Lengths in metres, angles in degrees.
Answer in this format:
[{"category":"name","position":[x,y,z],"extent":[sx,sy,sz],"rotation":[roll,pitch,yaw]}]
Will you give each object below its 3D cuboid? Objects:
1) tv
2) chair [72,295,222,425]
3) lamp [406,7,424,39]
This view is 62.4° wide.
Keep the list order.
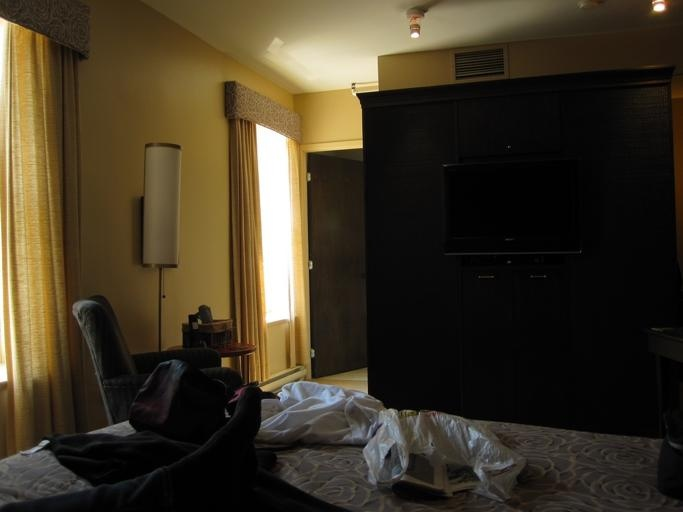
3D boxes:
[{"category":"tv","position":[1.381,-0.400,4.389],"extent":[0.782,0.605,0.109],"rotation":[-1,0,9]},{"category":"chair","position":[-1.171,0.602,3.707],"extent":[0.915,0.988,0.767],"rotation":[0,1,-15]},{"category":"lamp","position":[0.607,-1.866,4.502],"extent":[0.145,0.167,0.147],"rotation":[-2,6,-21]}]
